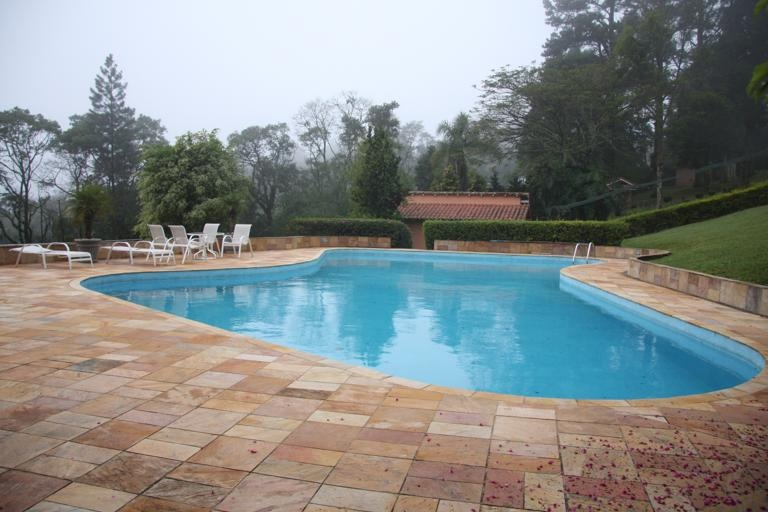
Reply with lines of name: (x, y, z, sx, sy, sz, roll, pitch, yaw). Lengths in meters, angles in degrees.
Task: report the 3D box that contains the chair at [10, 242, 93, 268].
chair: (-9.203, -0.076, 12.613, 1.769, 0.666, 3.433, -4, 9, -38)
